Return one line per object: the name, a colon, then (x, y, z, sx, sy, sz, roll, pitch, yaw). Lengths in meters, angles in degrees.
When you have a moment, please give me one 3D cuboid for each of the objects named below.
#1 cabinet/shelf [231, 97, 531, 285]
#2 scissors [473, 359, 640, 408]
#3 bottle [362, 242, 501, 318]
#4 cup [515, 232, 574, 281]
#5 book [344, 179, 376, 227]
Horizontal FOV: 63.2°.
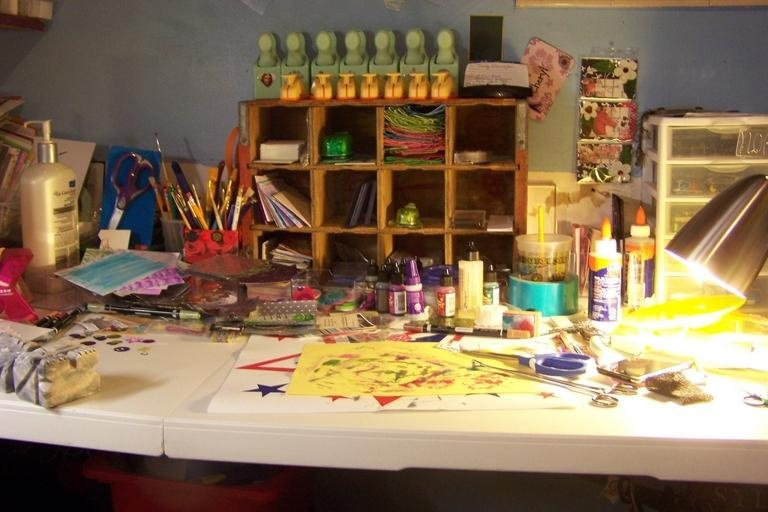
cabinet/shelf: (0.018, -0.133, 2.285, 1.010, 0.850, 0.287, 1, -3, 14)
scissors: (0.396, 0.284, 1.558, 0.323, 0.015, 0.114, 10, 20, 36)
bottle: (0.184, 0.074, 2.029, 0.358, 0.212, 0.204, -1, 7, 5)
cup: (0.506, -0.003, 1.967, 0.167, 0.112, 0.162, 0, 3, 0)
book: (-0.072, -0.190, 2.242, 0.055, 0.157, 0.126, 9, 6, 17)
